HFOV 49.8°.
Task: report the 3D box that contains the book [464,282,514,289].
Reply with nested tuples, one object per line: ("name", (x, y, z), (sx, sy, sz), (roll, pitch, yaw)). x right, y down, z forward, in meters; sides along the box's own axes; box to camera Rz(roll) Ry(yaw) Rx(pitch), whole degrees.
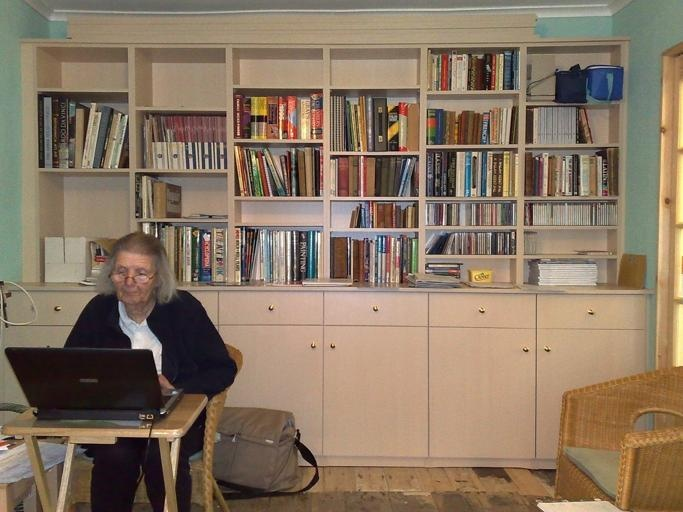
("book", (1.000, 0.192, 4.881), (0.338, 0.025, 0.288), (0, 3, 4))

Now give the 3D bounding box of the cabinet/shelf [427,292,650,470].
("cabinet/shelf", (1.269, 0.761, 4.557), (1.197, 0.933, 0.444), (0, -4, 1))

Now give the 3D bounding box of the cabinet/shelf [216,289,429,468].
("cabinet/shelf", (-0.059, 0.801, 4.705), (1.218, 0.896, 0.453), (0, -4, 0))

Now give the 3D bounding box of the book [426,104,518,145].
("book", (0.899, -0.880, 4.998), (0.616, 0.254, 0.074), (0, 3, 3))

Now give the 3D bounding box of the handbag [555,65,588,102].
("handbag", (1.539, -1.143, 4.950), (0.238, 0.250, 0.187), (-4, 1, -9))

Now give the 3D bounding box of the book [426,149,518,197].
("book", (0.902, -0.552, 4.993), (0.612, 0.307, 0.048), (0, 3, 1))

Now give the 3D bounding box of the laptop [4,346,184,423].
("laptop", (-1.138, 0.577, 3.158), (0.525, 0.296, 0.416), (1, 7, 4))

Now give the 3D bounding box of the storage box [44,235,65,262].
("storage box", (-1.925, -0.044, 4.952), (0.173, 0.220, 0.118), (0, -3, -8))

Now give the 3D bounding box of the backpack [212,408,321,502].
("backpack", (-0.532, 1.197, 4.639), (0.823, 0.463, 0.440), (1, 1, 31))

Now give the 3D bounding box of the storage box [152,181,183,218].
("storage box", (-1.205, -0.390, 5.100), (0.095, 0.245, 0.282), (-1, -1, 15))

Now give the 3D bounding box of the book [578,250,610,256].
("book", (1.767, -0.026, 5.089), (0.239, 0.030, 0.241), (1, 3, 16))

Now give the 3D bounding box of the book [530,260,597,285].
("book", (1.497, 0.103, 4.956), (0.439, 0.172, 0.207), (1, 3, 16))

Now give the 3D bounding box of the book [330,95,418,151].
("book", (0.238, -0.893, 5.007), (0.604, 0.368, 0.065), (0, 3, -3))

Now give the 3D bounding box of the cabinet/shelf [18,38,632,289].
("cabinet/shelf", (-0.133, -0.818, 5.335), (4.573, 0.577, 2.161), (-1, 43, 0))

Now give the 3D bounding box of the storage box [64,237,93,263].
("storage box", (-1.776, -0.046, 5.018), (0.170, 0.153, 0.162), (1, -1, -9))

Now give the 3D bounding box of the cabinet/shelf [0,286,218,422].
("cabinet/shelf", (-1.214, 0.588, 3.661), (0.974, 0.614, 0.657), (2, 19, -1))

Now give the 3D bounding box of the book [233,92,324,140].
("book", (-0.418, -0.945, 5.004), (0.603, 0.299, 0.071), (0, 3, 2))

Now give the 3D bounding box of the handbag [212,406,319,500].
("handbag", (-0.546, 1.176, 4.641), (0.844, 0.466, 0.434), (5, 10, 23))

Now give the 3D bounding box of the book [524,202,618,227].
("book", (1.576, -0.284, 4.998), (0.629, 0.167, 0.106), (0, 3, -8))

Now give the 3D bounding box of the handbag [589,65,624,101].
("handbag", (1.784, -1.152, 4.931), (0.264, 0.223, 0.136), (-5, 8, -20))

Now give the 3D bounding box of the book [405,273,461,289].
("book", (0.631, 0.156, 4.875), (0.360, 0.079, 0.264), (0, 3, 6))

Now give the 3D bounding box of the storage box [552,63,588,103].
("storage box", (1.547, -1.157, 4.942), (0.228, 0.247, 0.168), (-1, 13, 2))

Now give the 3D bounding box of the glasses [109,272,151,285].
("glasses", (-1.089, 0.108, 3.773), (0.242, 0.059, 0.078), (1, 3, 13))
